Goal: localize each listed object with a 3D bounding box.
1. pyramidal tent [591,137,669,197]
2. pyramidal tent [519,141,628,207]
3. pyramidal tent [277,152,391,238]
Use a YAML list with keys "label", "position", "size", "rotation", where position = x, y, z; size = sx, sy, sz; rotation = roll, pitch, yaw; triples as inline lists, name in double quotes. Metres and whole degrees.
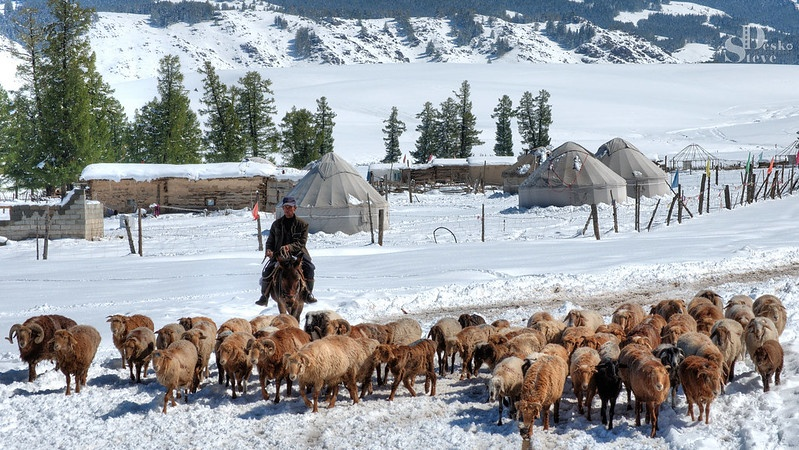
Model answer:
- label: "pyramidal tent"
  position: [69.398, -19.545, 319.320]
  size: [37.959, 21.131, 14.830]
  rotation: [0, -2, 18]
- label: "pyramidal tent"
  position: [53.934, -16.030, 330.684]
  size: [38.898, 21.061, 38.686]
  rotation: [-1, 0, 39]
- label: "pyramidal tent"
  position: [-19.263, -12.363, 317.190]
  size: [30.984, 20.164, 31.024]
  rotation: [-7, 18, -5]
